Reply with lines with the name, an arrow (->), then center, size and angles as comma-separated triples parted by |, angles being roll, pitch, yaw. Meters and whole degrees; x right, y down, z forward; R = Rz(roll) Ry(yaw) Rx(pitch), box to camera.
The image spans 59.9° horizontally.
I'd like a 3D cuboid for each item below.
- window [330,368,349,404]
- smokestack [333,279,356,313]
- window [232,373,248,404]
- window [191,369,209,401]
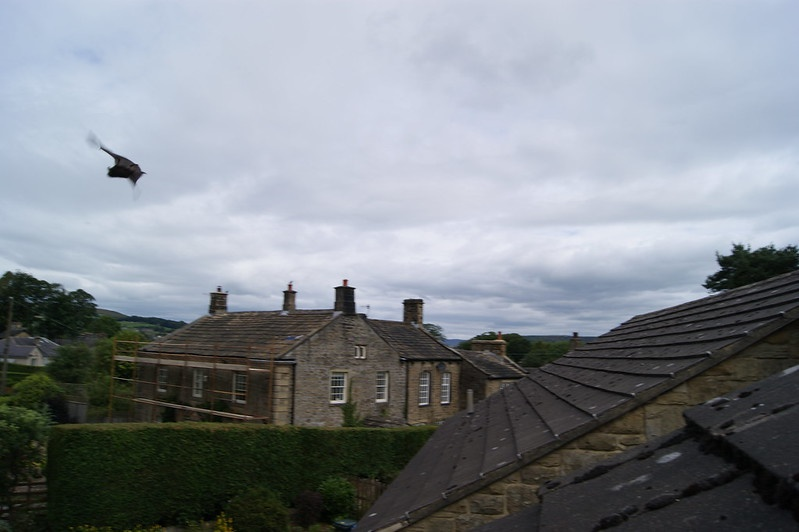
window -> -2.966, 5.917, 33.758 | 0.471, 1.640, 0.962 | -16, -23, 28
smokestack -> -2.801, 1.461, 34.753 | 0.986, 1.803, 1.489 | -2, -18, -5
window -> -7.695, 5.851, 33.172 | 0.507, 1.487, 1.210 | 4, -19, -21
window -> -10.198, 5.938, 35.119 | 0.286, 1.452, 1.121 | 16, -27, -42
